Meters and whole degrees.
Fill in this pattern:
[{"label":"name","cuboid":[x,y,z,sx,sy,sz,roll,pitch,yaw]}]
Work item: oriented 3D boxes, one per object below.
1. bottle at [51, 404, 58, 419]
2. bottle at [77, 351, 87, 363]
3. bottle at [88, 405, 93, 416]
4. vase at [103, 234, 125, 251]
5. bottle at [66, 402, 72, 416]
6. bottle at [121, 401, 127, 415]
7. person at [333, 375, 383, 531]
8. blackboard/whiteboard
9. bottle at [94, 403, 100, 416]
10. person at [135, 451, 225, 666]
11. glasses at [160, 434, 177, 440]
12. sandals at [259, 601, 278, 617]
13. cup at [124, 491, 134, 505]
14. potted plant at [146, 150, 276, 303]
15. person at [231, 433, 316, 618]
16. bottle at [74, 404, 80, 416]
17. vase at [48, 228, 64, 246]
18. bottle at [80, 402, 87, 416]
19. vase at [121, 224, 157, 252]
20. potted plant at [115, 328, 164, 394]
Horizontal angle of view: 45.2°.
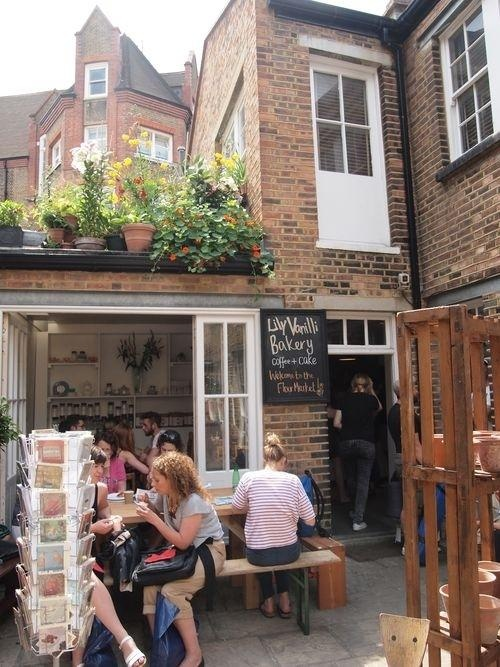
[{"label":"bottle","cuboid":[-2.805,1.123,8.648,0.133,0.205,0.042,-1,-5,2]},{"label":"bottle","cuboid":[-2.455,0.332,8.842,0.143,0.177,0.143,6,-7,-27]},{"label":"bottle","cuboid":[-2.343,1.129,8.836,0.102,0.171,0.055,0,-5,-16]},{"label":"vase","cuboid":[-1.275,-0.843,5.620,0.150,0.114,0.153,1,-2,8]},{"label":"bottle","cuboid":[-2.618,1.073,8.710,0.098,0.202,0.133,-1,-4,-8]},{"label":"bottle","cuboid":[-1.880,1.108,8.983,0.096,0.214,0.022,0,-5,-14]},{"label":"person","cuboid":[1.237,1.287,6.865,0.505,1.636,1.122,-2,-5,12]},{"label":"blackboard/whiteboard","cuboid":[0.402,0.244,5.785,0.858,1.145,0.077,3,-12,-25]},{"label":"bottle","cuboid":[-2.255,1.120,8.884,0.062,0.199,0.090,-4,-5,30]},{"label":"person","cuboid":[-0.489,1.374,3.836,0.614,1.216,0.757,-2,-4,6]},{"label":"glasses","cuboid":[-0.722,0.896,5.294,0.147,0.062,0.227,0,-4,-13]},{"label":"sandals","cuboid":[0.133,1.955,4.253,0.091,0.061,0.217,0,9,-6]},{"label":"cup","cuboid":[-0.978,1.328,4.861,0.071,0.079,0.087,1,-9,-4]},{"label":"potted plant","cuboid":[-0.393,-1.006,5.925,1.231,0.730,1.268,-4,33,6]},{"label":"person","cuboid":[0.170,1.346,4.111,0.499,1.270,0.460,-3,-5,27]},{"label":"bottle","cuboid":[-2.526,1.095,8.755,0.073,0.159,0.088,0,-5,-17]},{"label":"vase","cuboid":[-1.794,-0.894,5.595,0.154,0.127,0.157,-1,-2,6]},{"label":"bottle","cuboid":[-2.434,1.092,8.816,0.120,0.197,0.097,0,-5,-17]},{"label":"vase","cuboid":[-1.034,-0.861,5.580,0.270,0.211,0.268,-2,4,-41]},{"label":"potted plant","cuboid":[-1.711,0.408,9.104,0.350,1.121,0.934,1,-1,-43]}]
